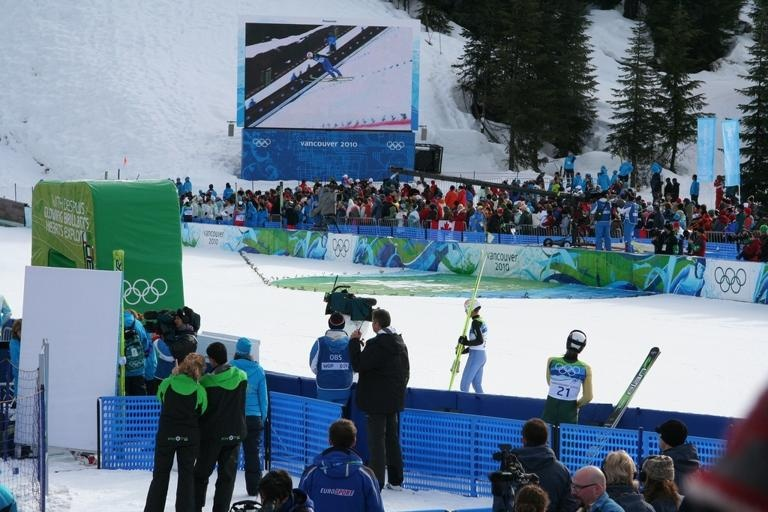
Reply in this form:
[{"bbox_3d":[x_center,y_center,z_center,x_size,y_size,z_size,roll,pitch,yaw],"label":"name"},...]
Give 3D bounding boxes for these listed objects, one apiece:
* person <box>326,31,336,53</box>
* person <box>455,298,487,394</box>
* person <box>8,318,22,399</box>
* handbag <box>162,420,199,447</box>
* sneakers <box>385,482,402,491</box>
[{"bbox_3d":[-3.391,-13.827,85.050,0.749,1.282,0.477,2,6,-11],"label":"person"},{"bbox_3d":[3.511,3.485,51.903,1.013,3.789,1.577,4,6,5],"label":"person"},{"bbox_3d":[-14.166,3.794,50.507,0.433,2.904,1.011,1,6,-16],"label":"person"},{"bbox_3d":[-7.432,6.471,48.427,1.320,0.770,0.973,1,-12,5],"label":"handbag"},{"bbox_3d":[0.377,8.569,49.290,0.656,0.303,0.252,-2,0,15],"label":"sneakers"}]
